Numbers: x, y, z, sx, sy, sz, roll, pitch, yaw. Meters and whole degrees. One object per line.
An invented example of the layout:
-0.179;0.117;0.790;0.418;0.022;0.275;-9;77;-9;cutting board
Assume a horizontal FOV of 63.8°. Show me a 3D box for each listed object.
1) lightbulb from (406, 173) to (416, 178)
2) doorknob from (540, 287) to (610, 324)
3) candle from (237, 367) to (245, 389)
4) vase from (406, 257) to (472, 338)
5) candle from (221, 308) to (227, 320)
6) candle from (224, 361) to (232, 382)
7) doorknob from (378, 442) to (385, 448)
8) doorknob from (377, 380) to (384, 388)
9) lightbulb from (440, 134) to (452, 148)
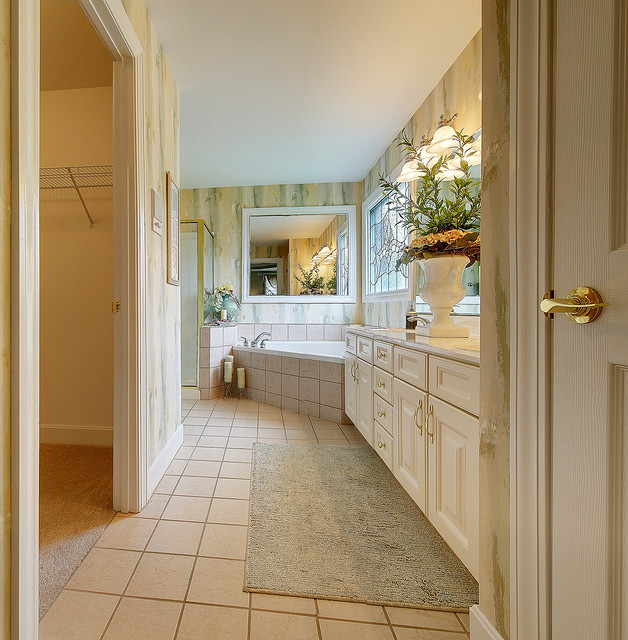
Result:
0.578;-0.868;3.025;0.026;0.023;0.069;-4;12;-25;lightbulb
0.598;-0.036;1.163;0.144;0.084;0.052;10;13;41;doorknob
-0.616;0.497;4.305;0.081;0.182;0.072;-5;10;-32;candle
0.575;-0.105;2.351;0.296;0.460;0.321;1;-1;20;vase
-0.830;-0.060;4.650;0.047;0.096;0.086;-1;10;-11;candle
-0.726;0.438;4.293;0.066;0.170;0.072;-4;10;-27;candle
0.318;0.586;2.376;0.032;0.023;0.054;2;-4;-11;doorknob
0.318;0.303;2.408;0.031;0.028;0.053;0;-2;8;doorknob
0.672;-0.916;2.580;0.056;0.051;0.091;3;11;15;lightbulb
